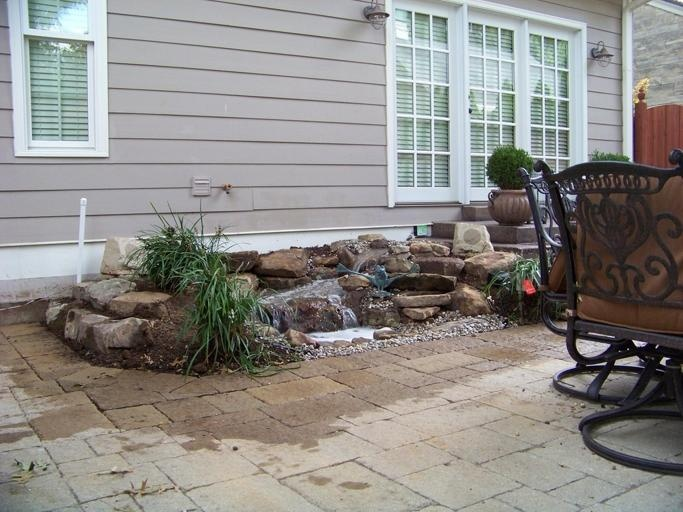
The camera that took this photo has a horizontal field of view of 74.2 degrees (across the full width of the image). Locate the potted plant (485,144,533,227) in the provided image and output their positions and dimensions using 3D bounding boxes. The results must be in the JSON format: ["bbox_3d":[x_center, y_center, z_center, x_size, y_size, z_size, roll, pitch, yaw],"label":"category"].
[{"bbox_3d":[2.354,-0.985,6.301,0.582,1.109,1.493,2,6,22],"label":"potted plant"}]

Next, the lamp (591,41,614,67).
[{"bbox_3d":[4.586,-3.502,7.866,0.578,0.433,0.194,-4,7,-37],"label":"lamp"}]
